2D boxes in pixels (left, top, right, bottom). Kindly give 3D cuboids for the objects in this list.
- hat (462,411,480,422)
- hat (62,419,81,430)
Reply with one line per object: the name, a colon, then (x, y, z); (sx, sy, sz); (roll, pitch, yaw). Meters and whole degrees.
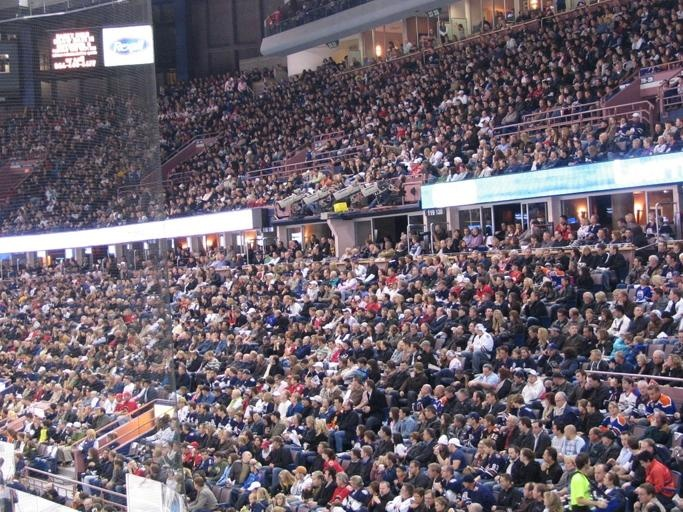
hat: (2.351, 2.934, 25.259); (0.197, 0.103, 0.148); (3, 1, 19)
hat: (-3.675, 2.299, 18.819); (0.179, 0.092, 0.115); (-8, -3, -28)
